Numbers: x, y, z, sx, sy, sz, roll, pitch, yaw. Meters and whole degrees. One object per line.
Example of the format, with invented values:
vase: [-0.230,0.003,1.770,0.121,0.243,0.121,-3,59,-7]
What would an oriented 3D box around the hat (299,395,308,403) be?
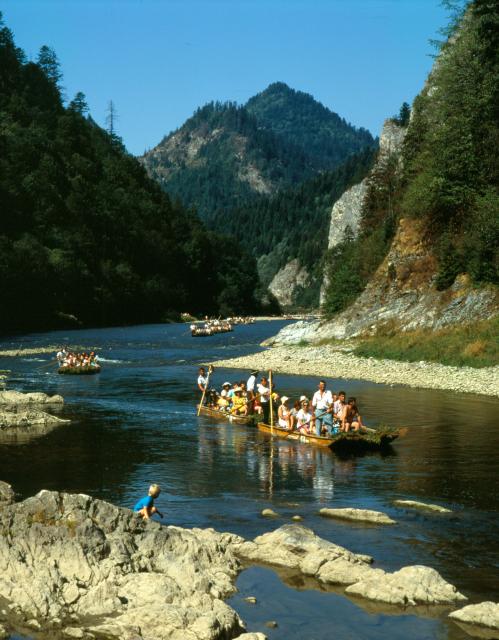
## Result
hat: [2.111,2.981,32.683,0.413,0.152,0.451,-2,-14,-1]

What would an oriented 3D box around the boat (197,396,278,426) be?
boat: [-0.636,3.931,36.856,1.178,0.857,4.980,6,-6,-29]
